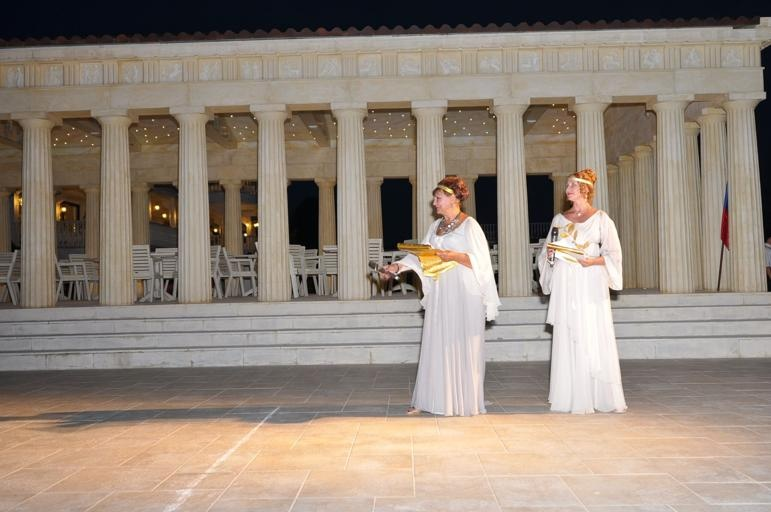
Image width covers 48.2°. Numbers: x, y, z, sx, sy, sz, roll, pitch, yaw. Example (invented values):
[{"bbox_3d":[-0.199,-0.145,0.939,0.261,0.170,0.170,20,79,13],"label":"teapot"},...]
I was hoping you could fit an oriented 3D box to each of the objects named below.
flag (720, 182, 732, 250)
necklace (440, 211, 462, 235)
[{"bbox_3d":[9.153,-1.025,23.352,0.243,1.674,0.943,-3,-2,21],"label":"flag"},{"bbox_3d":[1.240,-0.602,16.399,0.114,0.464,0.455,53,-5,-40],"label":"necklace"}]
